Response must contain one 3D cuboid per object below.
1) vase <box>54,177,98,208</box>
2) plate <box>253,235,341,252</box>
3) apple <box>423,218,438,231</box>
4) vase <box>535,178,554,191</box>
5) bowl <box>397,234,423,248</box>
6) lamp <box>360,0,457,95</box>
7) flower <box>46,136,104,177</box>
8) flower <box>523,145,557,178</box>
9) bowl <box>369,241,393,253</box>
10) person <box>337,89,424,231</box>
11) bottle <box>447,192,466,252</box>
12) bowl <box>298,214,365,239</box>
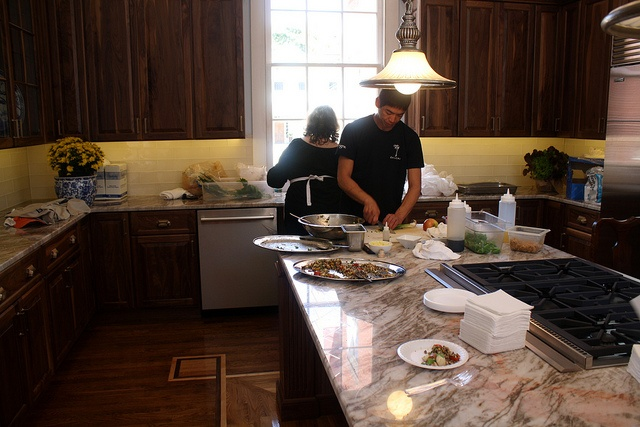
[{"bbox_3d":[-2.418,-0.214,4.468,0.340,0.248,0.302,3,5,35],"label":"vase"},{"bbox_3d":[-0.138,0.195,2.959,0.556,0.092,0.270,-2,16,6],"label":"plate"},{"bbox_3d":[0.809,0.081,3.277,0.086,0.084,0.082,-15,47,-2],"label":"apple"},{"bbox_3d":[2.650,-0.343,5.296,0.158,0.094,0.157,-1,13,2],"label":"vase"},{"bbox_3d":[0.603,0.190,2.985,0.158,0.073,0.098,11,22,42],"label":"bowl"},{"bbox_3d":[0.484,-0.949,2.750,0.561,0.600,0.553,-1,7,-10],"label":"lamp"},{"bbox_3d":[-2.348,-0.515,4.398,0.435,0.364,0.429,-2,2,-1],"label":"flower"},{"bbox_3d":[2.617,-0.604,5.321,0.310,0.356,0.446,-3,16,4],"label":"flower"},{"bbox_3d":[0.393,0.214,2.899,0.143,0.070,0.149,-4,16,1],"label":"bowl"},{"bbox_3d":[0.475,-0.432,3.498,0.693,1.036,0.682,-3,16,6],"label":"person"},{"bbox_3d":[0.886,0.053,2.908,0.116,0.350,0.233,1,17,17],"label":"bottle"},{"bbox_3d":[0.074,0.088,3.107,0.388,0.151,0.328,3,17,23],"label":"bowl"}]
